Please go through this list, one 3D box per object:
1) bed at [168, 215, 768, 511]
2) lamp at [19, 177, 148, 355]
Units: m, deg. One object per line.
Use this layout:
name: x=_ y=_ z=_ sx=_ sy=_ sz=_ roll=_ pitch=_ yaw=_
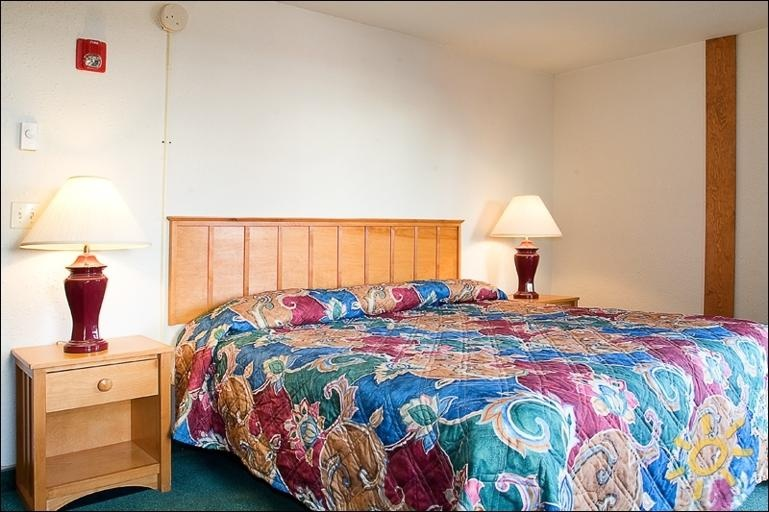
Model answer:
bed: x=0.344 y=0.528 z=2.928 sx=1.665 sy=0.680 sz=1.590 roll=-1 pitch=1 yaw=-40
lamp: x=-1.621 y=0.016 z=2.981 sx=0.546 sy=0.878 sz=0.455 roll=9 pitch=14 yaw=33
